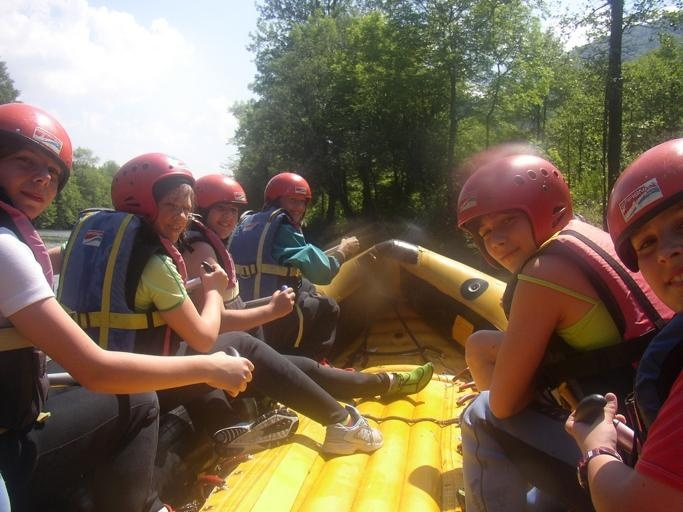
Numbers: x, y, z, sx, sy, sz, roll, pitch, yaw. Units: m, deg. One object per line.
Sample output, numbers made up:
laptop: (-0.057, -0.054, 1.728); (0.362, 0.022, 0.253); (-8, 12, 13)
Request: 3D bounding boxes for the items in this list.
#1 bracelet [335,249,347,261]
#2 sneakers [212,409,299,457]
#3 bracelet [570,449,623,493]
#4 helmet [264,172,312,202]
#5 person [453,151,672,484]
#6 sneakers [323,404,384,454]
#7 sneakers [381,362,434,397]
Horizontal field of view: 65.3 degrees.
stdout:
bracelet: (0.001, -0.018, 5.172); (0.090, 0.090, 0.091); (0, -22, 39)
sneakers: (-0.504, 1.056, 3.223); (0.499, 0.211, 0.205); (-16, 8, -27)
bracelet: (0.857, 0.716, 1.791); (0.040, 0.156, 0.144); (37, -38, -19)
helmet: (-0.496, -0.619, 5.090); (0.350, 0.325, 0.277); (24, 20, 22)
person: (0.880, 0.269, 2.360); (0.556, 1.415, 0.900); (-4, 11, -31)
sneakers: (0.068, 1.082, 3.376); (0.384, 0.282, 0.201); (2, -3, -22)
sneakers: (0.517, 0.941, 4.018); (0.456, 0.183, 0.220); (-16, -38, -6)
